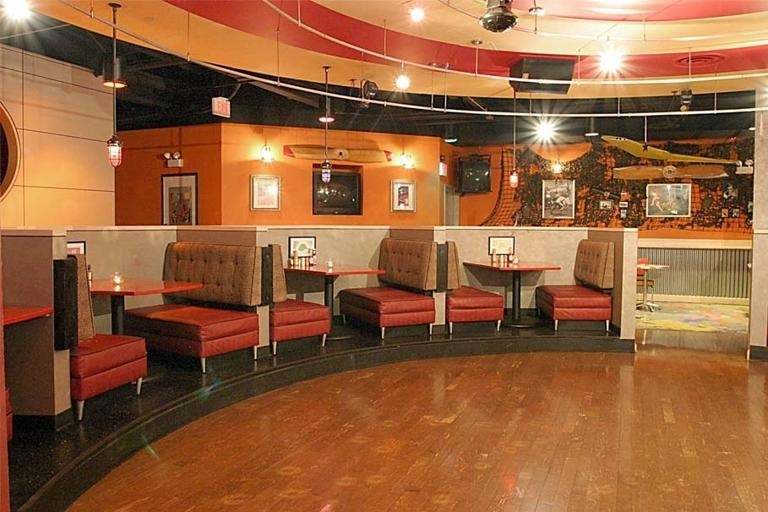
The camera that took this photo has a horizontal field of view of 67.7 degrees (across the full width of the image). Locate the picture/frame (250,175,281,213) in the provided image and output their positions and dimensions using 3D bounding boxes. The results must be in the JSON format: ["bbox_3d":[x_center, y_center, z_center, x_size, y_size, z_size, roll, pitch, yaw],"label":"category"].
[{"bbox_3d":[-2.496,-1.304,11.991,0.974,0.930,0.072,0,3,-33],"label":"picture/frame"}]

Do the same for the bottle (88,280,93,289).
[{"bbox_3d":[-3.224,0.314,6.304,0.071,0.105,0.120,-1,1,-25],"label":"bottle"}]

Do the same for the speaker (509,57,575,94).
[{"bbox_3d":[2.581,-2.954,9.356,0.950,0.562,1.029,2,13,9],"label":"speaker"}]

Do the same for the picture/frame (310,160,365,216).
[{"bbox_3d":[-1.263,-1.424,12.779,0.782,1.087,1.434,5,7,44],"label":"picture/frame"}]

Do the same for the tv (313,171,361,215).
[{"bbox_3d":[-1.056,-1.376,12.504,1.158,0.765,0.550,1,6,-12],"label":"tv"}]

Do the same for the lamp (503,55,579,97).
[{"bbox_3d":[2.515,-3.119,9.666,1.144,0.545,0.866,-8,36,-24],"label":"lamp"}]

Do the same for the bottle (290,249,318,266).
[{"bbox_3d":[-1.200,0.063,8.691,0.544,0.301,0.264,2,-5,-42],"label":"bottle"}]

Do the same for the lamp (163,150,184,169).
[{"bbox_3d":[-4.393,-1.994,11.942,0.486,0.326,0.155,7,16,27],"label":"lamp"}]

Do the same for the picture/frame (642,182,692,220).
[{"bbox_3d":[6.528,-1.276,13.240,1.199,0.805,0.117,-2,6,-16],"label":"picture/frame"}]

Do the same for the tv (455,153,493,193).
[{"bbox_3d":[2.332,-2.062,14.571,1.008,0.954,0.921,0,0,14],"label":"tv"}]
